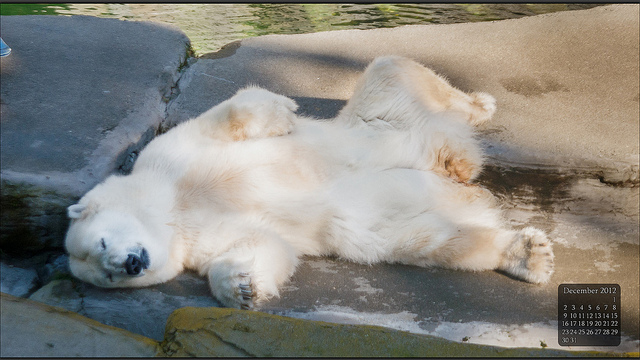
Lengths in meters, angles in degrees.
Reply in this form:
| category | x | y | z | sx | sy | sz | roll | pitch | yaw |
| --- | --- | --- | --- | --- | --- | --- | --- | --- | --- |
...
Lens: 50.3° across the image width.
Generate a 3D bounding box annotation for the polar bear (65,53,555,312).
| category | x | y | z | sx | sy | sz | roll | pitch | yaw |
| --- | --- | --- | --- | --- | --- | --- | --- | --- | --- |
| polar bear | -0.095 | 0.045 | 4.672 | 3.031 | 0.608 | 1.516 | -8 | 57 | -6 |
